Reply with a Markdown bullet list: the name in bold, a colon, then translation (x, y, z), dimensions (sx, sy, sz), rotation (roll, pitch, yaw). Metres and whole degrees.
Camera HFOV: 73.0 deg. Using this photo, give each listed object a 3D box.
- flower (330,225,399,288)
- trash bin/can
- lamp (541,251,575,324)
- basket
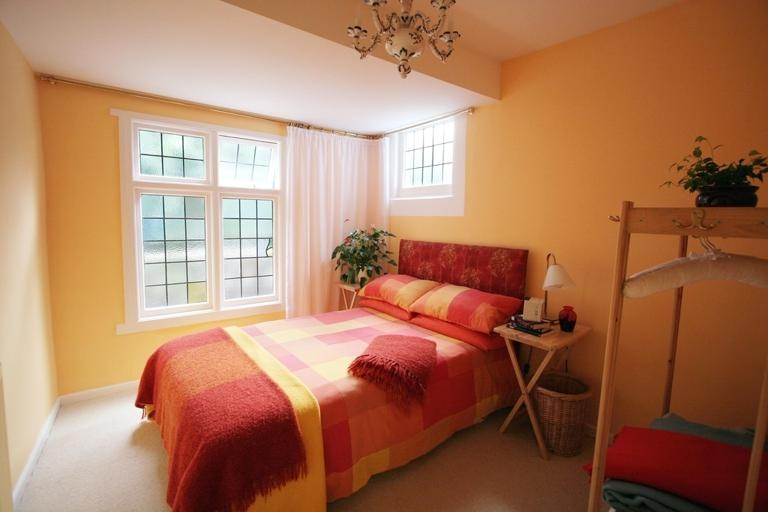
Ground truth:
- **flower**: translation (-0.221, -0.015, 6.280), dimensions (0.710, 0.639, 0.726), rotation (7, 7, 30)
- **trash bin/can**: translation (1.644, 1.421, 4.530), dimensions (0.576, 0.543, 0.509), rotation (3, -12, -34)
- **lamp**: translation (1.518, 0.294, 4.537), dimensions (0.224, 0.596, 0.509), rotation (1, 8, 17)
- **basket**: translation (1.536, 1.380, 4.596), dimensions (0.540, 0.550, 0.584), rotation (3, 9, 14)
